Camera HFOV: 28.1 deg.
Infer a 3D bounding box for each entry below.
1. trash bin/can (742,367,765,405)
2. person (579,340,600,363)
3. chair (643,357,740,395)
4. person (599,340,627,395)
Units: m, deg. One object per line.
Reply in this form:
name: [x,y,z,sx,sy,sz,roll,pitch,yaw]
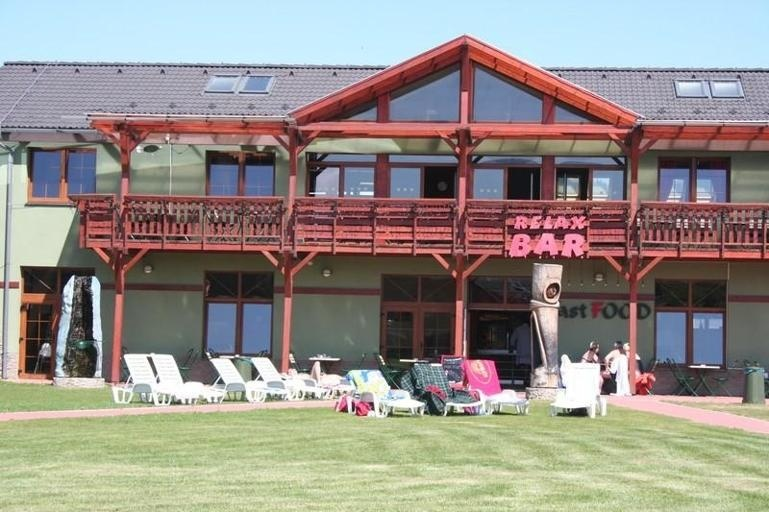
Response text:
trash bin/can: [10.940,3.875,45.653,0.633,1.100,0.665,-2,-8,10]
person: [6.589,3.097,49.272,0.647,0.888,0.743,3,-1,-23]
chair: [9.931,3.869,49.120,2.890,1.203,1.324,-2,-8,10]
person: [7.238,3.582,48.712,0.980,1.833,1.029,11,-15,-28]
